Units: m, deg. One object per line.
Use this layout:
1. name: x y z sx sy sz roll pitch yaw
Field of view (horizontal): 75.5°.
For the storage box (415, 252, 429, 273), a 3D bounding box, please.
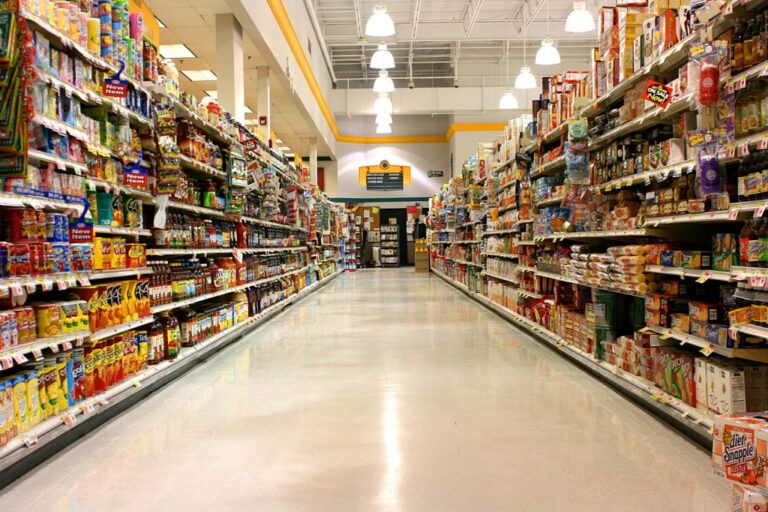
1. storage box: 1.601 0.229 20.956 0.745 0.718 1.064 0 -3 11
